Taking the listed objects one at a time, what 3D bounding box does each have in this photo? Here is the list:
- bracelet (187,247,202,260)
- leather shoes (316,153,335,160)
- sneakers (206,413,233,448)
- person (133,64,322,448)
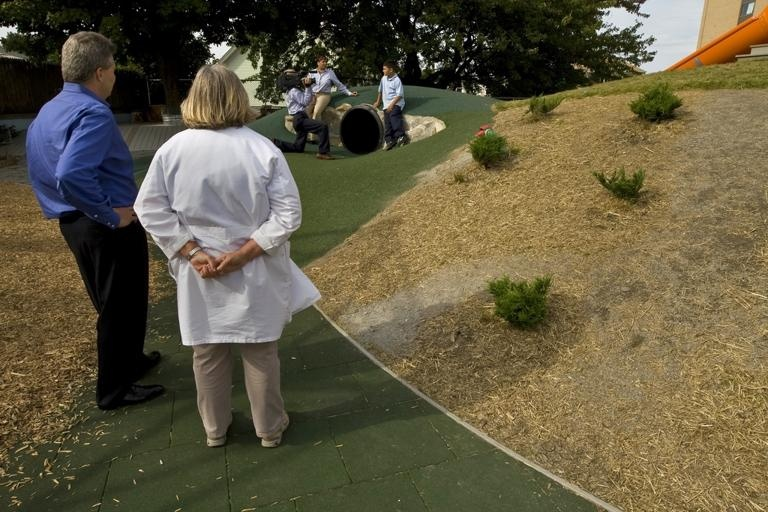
[{"bbox_3d":[-1.568,-0.027,4.764,0.102,0.097,0.091,-42,-4,-1],"label":"bracelet"},{"bbox_3d":[-1.350,-2.239,13.006,0.397,0.150,0.142,-2,13,3],"label":"leather shoes"},{"bbox_3d":[-1.506,1.569,5.198,0.120,0.140,0.339,1,24,2],"label":"sneakers"},{"bbox_3d":[-1.337,0.074,4.886,1.164,3.189,0.899,13,25,25],"label":"person"}]
